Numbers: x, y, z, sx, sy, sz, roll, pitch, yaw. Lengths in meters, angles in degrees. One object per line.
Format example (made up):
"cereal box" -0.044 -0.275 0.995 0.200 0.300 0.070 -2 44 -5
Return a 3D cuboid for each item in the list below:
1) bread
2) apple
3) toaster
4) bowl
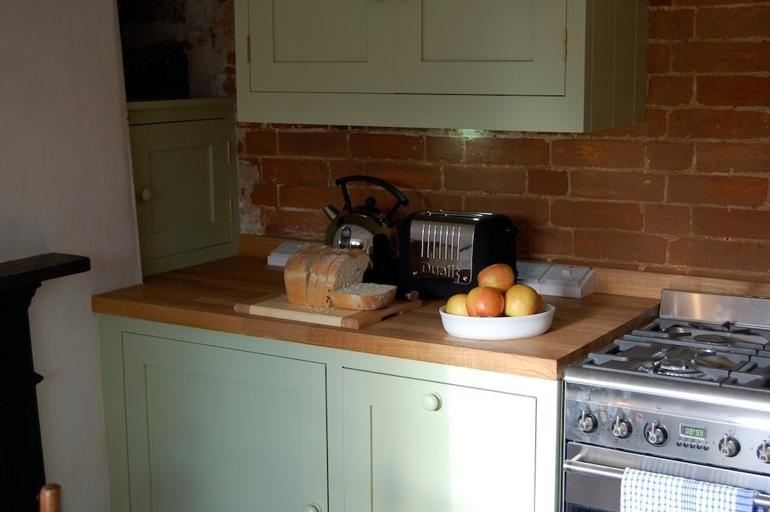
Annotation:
"bread" -0.155 0.082 2.172 0.373 0.190 0.274 11 11 24
"apple" 0.370 0.087 1.915 0.272 0.153 0.236 10 19 41
"toaster" 0.266 -0.044 2.171 0.345 0.341 0.202 9 16 38
"bowl" 0.364 0.207 1.979 0.386 0.084 0.395 -2 4 0
